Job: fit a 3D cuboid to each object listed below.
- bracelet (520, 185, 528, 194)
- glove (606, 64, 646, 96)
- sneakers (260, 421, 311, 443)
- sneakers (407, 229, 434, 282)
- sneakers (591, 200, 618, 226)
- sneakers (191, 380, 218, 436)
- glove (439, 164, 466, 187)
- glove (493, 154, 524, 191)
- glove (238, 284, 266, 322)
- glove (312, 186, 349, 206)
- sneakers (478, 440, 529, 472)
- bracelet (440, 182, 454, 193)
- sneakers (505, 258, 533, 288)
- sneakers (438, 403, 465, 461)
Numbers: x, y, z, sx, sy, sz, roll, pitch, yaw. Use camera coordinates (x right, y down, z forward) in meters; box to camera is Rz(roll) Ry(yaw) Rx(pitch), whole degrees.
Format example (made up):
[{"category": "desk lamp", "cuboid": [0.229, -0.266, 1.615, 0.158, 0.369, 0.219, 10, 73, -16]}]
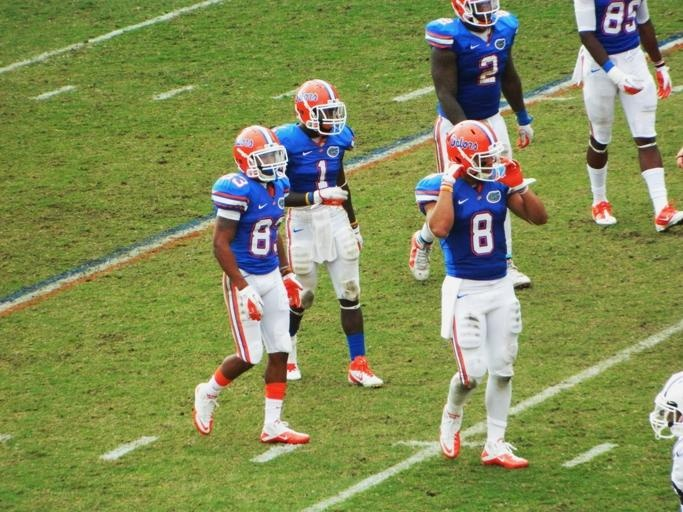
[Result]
[{"category": "bracelet", "cuboid": [1.368, -0.480, 7.967, 0.053, 0.059, 0.033, -42, 124, -48]}, {"category": "glove", "cuboid": [2.629, -1.605, 9.986, 0.392, 0.107, 0.217, 36, 74, 3]}, {"category": "sneakers", "cuboid": [-0.361, 1.380, 8.457, 0.518, 0.141, 0.154, 1, 97, 3]}, {"category": "sneakers", "cuboid": [0.701, 0.010, 10.197, 0.236, 0.234, 0.440, -3, 105, -14]}, {"category": "sneakers", "cuboid": [2.609, -0.403, 10.657, 0.161, 0.337, 0.124, -6, 106, -2]}, {"category": "sneakers", "cuboid": [-1.085, 1.208, 8.516, 0.182, 0.224, 0.415, 5, 58, -42]}, {"category": "glove", "cuboid": [0.806, -0.581, 7.837, 0.134, 0.074, 0.193, 34, 62, -4]}, {"category": "glove", "cuboid": [1.242, -0.603, 7.878, 0.211, 0.092, 0.252, -35, 74, -20]}, {"category": "glove", "cuboid": [-0.688, 0.368, 8.349, 0.247, 0.127, 0.242, -5, 100, 12]}, {"category": "glove", "cuboid": [-0.091, -0.489, 8.868, 0.265, 0.142, 0.116, 0, 73, 3]}, {"category": "sneakers", "cuboid": [1.196, 1.469, 7.964, 0.440, 0.154, 0.143, 6, 111, 13]}, {"category": "bracelet", "cuboid": [0.770, -0.493, 7.773, 0.087, 0.074, 0.043, -3, 101, -24]}, {"category": "sneakers", "cuboid": [1.606, 0.172, 10.033, 0.168, 0.432, 0.166, -14, 113, -25]}, {"category": "sneakers", "cuboid": [0.818, 1.327, 8.030, 0.185, 0.192, 0.372, 0, 79, -5]}]
